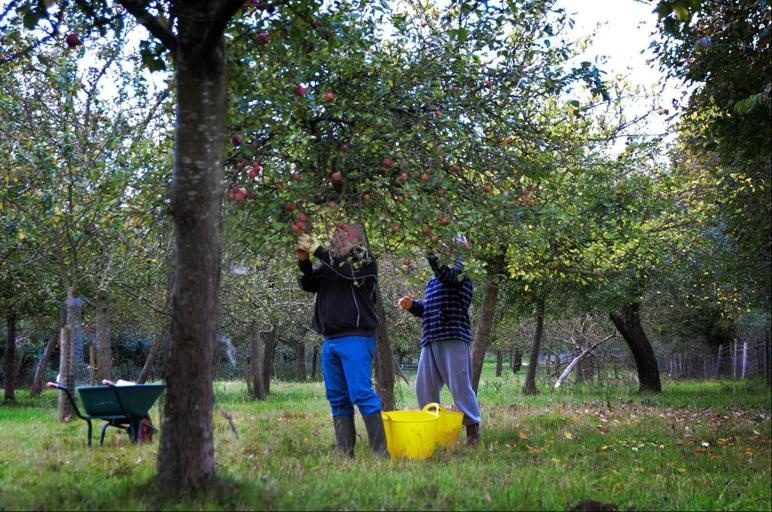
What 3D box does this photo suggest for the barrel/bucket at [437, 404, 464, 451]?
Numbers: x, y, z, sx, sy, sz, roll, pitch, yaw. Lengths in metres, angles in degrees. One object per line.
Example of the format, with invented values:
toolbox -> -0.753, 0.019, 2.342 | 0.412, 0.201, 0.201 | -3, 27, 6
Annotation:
barrel/bucket -> 0.789, 2.347, 9.192 | 0.485, 0.544, 0.482 | 0, -10, 0

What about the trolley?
trolley -> -3.950, 2.274, 9.780 | 1.396, 0.932, 1.099 | 0, -2, -17

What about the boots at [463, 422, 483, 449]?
boots -> 1.217, 2.427, 9.233 | 0.278, 0.387, 0.197 | -2, -6, 21

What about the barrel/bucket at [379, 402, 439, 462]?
barrel/bucket -> 0.252, 2.252, 8.759 | 0.845, 0.695, 0.773 | -3, -1, 0
